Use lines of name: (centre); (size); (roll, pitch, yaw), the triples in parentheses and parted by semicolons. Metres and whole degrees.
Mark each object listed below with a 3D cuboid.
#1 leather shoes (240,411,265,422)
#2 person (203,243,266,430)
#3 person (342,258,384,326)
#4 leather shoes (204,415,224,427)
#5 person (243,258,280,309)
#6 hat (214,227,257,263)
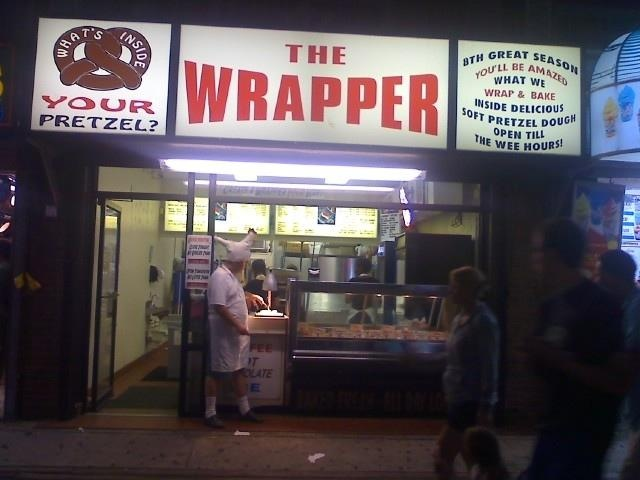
leather shoes: (-0.809, 2.078, 7.105); (0.281, 0.117, 0.106); (1, -5, 7)
person: (-1.009, 1.055, 7.242); (0.634, 1.947, 0.718); (5, 2, -21)
person: (0.546, 0.654, 7.637); (0.376, 0.778, 0.398); (4, 1, -6)
leather shoes: (-1.225, 2.073, 6.889); (0.209, 0.121, 0.173); (1, 7, -7)
person: (-0.848, 0.608, 8.739); (0.420, 0.719, 0.423); (3, 2, -17)
hat: (-1.025, 0.066, 7.297); (0.566, 0.395, 0.228); (-3, -6, -25)
